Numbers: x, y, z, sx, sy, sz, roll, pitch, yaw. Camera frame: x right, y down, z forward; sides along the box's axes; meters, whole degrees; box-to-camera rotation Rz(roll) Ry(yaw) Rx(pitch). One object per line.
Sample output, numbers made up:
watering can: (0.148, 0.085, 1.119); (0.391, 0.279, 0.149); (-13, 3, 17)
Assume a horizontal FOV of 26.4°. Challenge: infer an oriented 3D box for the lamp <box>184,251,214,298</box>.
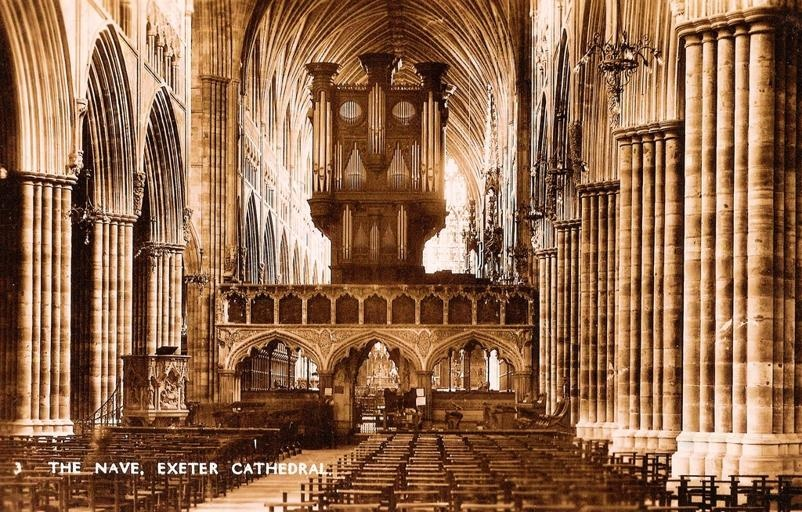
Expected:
lamp: (-7.639, 0.548, 65.552); (1.195, 1.621, 1.089); (3, 0, -22)
